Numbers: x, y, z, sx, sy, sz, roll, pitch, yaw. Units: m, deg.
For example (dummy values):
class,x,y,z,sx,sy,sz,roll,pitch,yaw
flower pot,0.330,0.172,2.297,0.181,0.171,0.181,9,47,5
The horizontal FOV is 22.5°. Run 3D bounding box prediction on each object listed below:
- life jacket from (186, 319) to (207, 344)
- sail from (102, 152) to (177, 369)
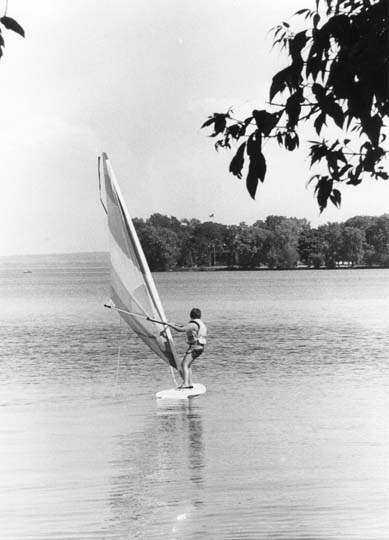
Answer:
class,x,y,z,sx,sy,sz,roll,pitch,yaw
life jacket,0.088,1.025,15.939,0.365,0.568,0.303,3,-3,-39
sail,-1.089,-0.142,17.345,1.329,3.462,1.184,-3,-1,38
